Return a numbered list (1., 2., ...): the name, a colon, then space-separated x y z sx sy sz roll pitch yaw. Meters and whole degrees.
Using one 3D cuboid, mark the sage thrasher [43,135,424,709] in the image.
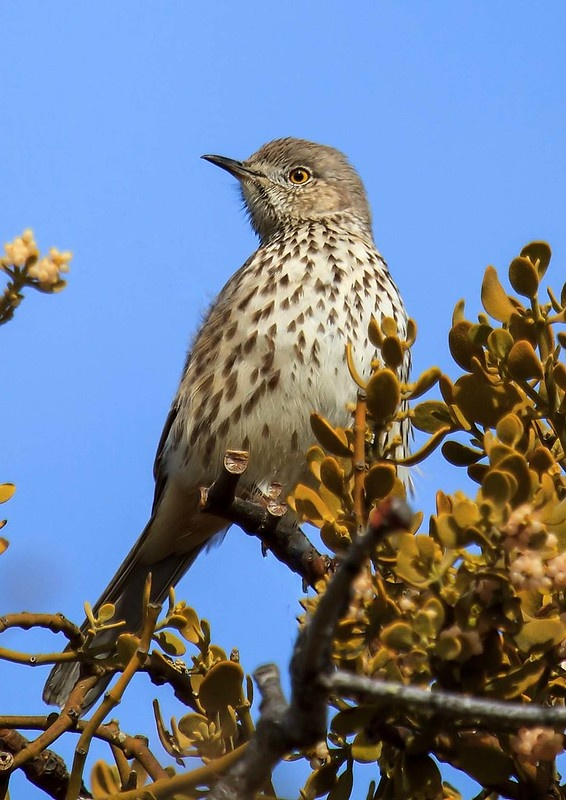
1. sage thrasher: -0.066 -0.195 5.512 0.550 2.590 1.170 32 -49 -16
